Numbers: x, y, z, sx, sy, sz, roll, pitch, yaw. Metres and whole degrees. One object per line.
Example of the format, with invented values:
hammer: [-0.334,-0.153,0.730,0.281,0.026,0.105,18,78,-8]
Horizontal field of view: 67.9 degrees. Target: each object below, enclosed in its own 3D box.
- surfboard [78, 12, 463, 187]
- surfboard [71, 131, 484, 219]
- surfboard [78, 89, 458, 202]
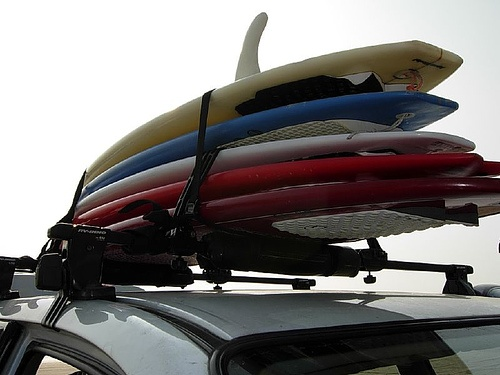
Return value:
surfboard: [-0.298,-0.379,2.374,2.788,0.771,0.550,-18,-42,30]
surfboard: [-0.441,-0.001,2.037,2.933,0.354,0.143,-5,-47,19]
surfboard: [-0.444,-0.148,1.860,2.572,0.164,0.376,-6,-42,21]
